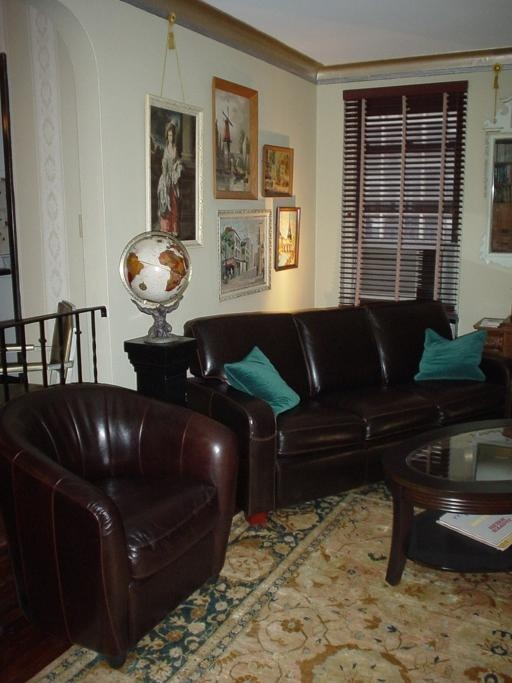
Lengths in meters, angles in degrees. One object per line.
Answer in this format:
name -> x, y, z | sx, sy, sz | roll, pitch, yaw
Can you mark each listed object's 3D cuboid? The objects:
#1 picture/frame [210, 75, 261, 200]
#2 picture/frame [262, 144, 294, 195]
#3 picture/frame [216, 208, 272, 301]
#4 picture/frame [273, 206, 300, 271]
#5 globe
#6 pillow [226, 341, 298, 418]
picture/frame -> -0.144, -1.491, 4.115 | 0.096, 0.891, 0.691 | 2, 6, 23
picture/frame -> 0.173, -1.488, 4.725 | 0.038, 0.425, 0.490 | 3, 12, 28
picture/frame -> -0.112, -0.703, 4.340 | 0.031, 0.596, 0.710 | 10, 20, 29
picture/frame -> 0.264, -0.954, 5.018 | 0.037, 0.629, 0.565 | 6, 12, 27
globe -> -0.441, -0.236, 2.416 | 0.275, 0.487, 0.242 | 1, 6, 6
pillow -> -0.014, 0.208, 2.838 | 0.360, 0.299, 0.439 | 4, 7, 38
